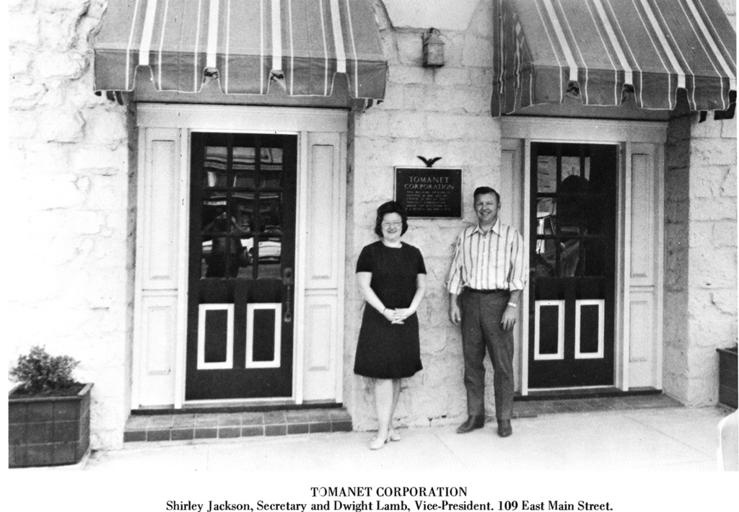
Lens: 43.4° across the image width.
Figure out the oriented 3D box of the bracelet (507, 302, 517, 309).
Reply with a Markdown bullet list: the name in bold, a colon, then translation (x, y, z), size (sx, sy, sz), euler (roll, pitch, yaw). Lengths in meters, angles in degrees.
- **bracelet**: translation (1.408, 0.492, 9.182), size (0.088, 0.052, 0.047), euler (-2, -2, 13)

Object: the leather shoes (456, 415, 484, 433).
- **leather shoes**: translation (1.022, 1.699, 9.412), size (0.326, 0.236, 0.127), euler (1, 7, -18)

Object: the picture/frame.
- **picture/frame**: translation (0.564, -0.639, 9.386), size (0.535, 0.399, 0.074), euler (1, -4, -7)

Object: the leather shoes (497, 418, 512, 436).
- **leather shoes**: translation (1.366, 1.727, 9.303), size (0.167, 0.168, 0.151), euler (-1, -1, -5)

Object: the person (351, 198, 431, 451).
- **person**: translation (0.194, 0.681, 9.021), size (0.729, 2.397, 0.376), euler (-1, -2, -2)

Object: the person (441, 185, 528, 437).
- **person**: translation (1.183, 0.564, 9.333), size (0.802, 2.496, 0.340), euler (-2, -2, 11)

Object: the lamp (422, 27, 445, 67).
- **lamp**: translation (0.635, -2.096, 9.349), size (0.209, 0.367, 0.149), euler (-2, 8, -10)
